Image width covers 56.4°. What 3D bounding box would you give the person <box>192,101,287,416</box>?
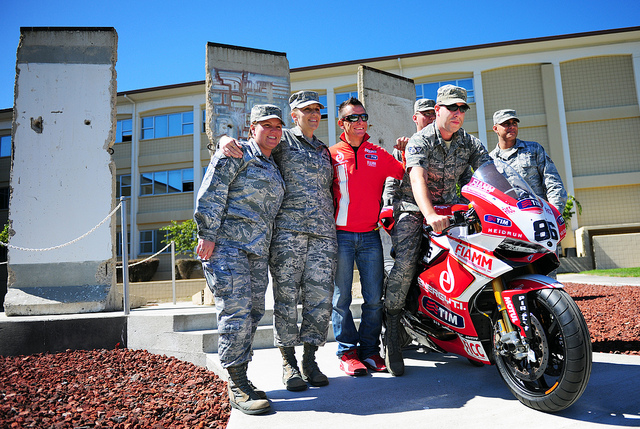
[{"bbox_3d":[-0.949,0.480,7.392,1.120,3.759,0.657,-2,0,-20],"label":"person"}]
